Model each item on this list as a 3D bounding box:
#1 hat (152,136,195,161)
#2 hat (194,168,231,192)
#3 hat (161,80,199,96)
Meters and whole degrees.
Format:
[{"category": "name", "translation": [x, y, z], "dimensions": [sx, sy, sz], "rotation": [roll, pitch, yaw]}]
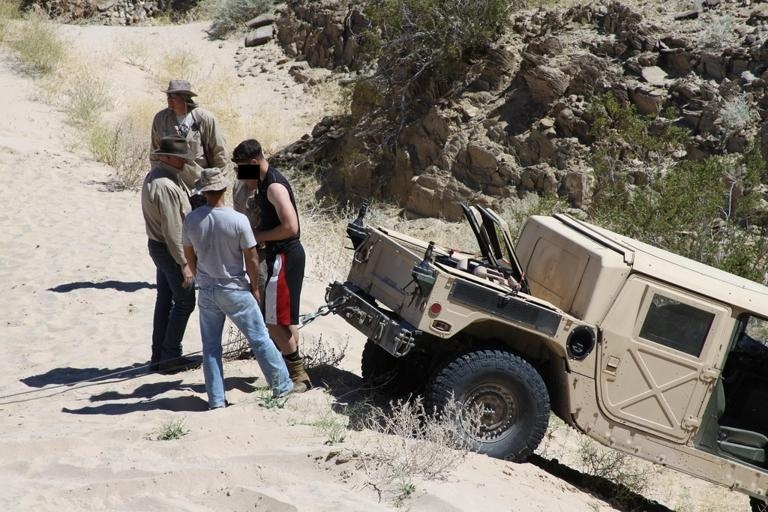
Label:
[{"category": "hat", "translation": [-2.933, -1.562, 12.725], "dimensions": [0.393, 0.192, 0.468], "rotation": [11, 12, 37]}, {"category": "hat", "translation": [-2.351, -1.036, 11.943], "dimensions": [0.338, 0.151, 0.357], "rotation": [-32, 32, -33]}, {"category": "hat", "translation": [-3.079, -2.592, 13.582], "dimensions": [0.402, 0.246, 0.653], "rotation": [11, 15, -15]}]
